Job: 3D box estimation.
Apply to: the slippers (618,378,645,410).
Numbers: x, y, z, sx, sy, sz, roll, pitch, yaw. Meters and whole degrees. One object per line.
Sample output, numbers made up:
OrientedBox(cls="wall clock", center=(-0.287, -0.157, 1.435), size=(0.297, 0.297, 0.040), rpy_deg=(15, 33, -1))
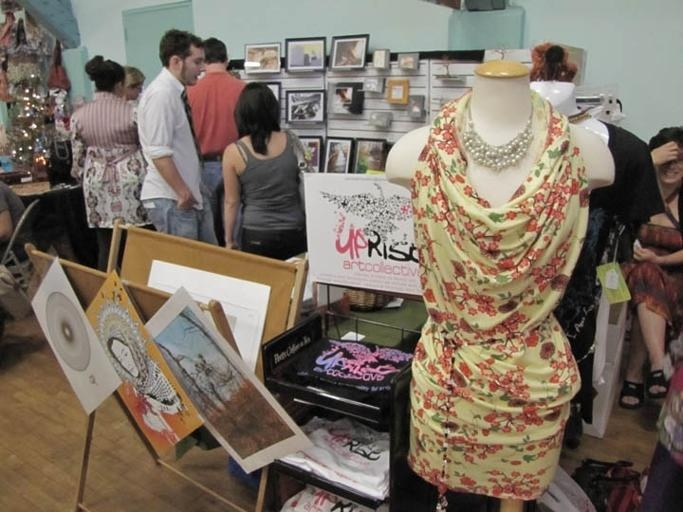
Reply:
OrientedBox(cls="slippers", center=(1.748, 0.829, 3.264), size=(0.085, 0.072, 0.237), rpy_deg=(-2, 13, 27))

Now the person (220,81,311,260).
OrientedBox(cls="person", center=(-0.537, -0.531, 3.507), size=(0.579, 1.117, 0.385), rpy_deg=(-1, 20, 3))

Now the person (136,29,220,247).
OrientedBox(cls="person", center=(-1.122, -0.782, 3.602), size=(0.342, 1.313, 0.504), rpy_deg=(5, 21, 18))

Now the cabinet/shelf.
OrientedBox(cls="cabinet/shelf", center=(0.081, 0.479, 2.305), size=(0.692, 0.556, 0.662), rpy_deg=(9, 19, 28))

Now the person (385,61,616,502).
OrientedBox(cls="person", center=(0.517, 0.097, 1.831), size=(0.571, 1.416, 0.436), rpy_deg=(1, 20, 7))
